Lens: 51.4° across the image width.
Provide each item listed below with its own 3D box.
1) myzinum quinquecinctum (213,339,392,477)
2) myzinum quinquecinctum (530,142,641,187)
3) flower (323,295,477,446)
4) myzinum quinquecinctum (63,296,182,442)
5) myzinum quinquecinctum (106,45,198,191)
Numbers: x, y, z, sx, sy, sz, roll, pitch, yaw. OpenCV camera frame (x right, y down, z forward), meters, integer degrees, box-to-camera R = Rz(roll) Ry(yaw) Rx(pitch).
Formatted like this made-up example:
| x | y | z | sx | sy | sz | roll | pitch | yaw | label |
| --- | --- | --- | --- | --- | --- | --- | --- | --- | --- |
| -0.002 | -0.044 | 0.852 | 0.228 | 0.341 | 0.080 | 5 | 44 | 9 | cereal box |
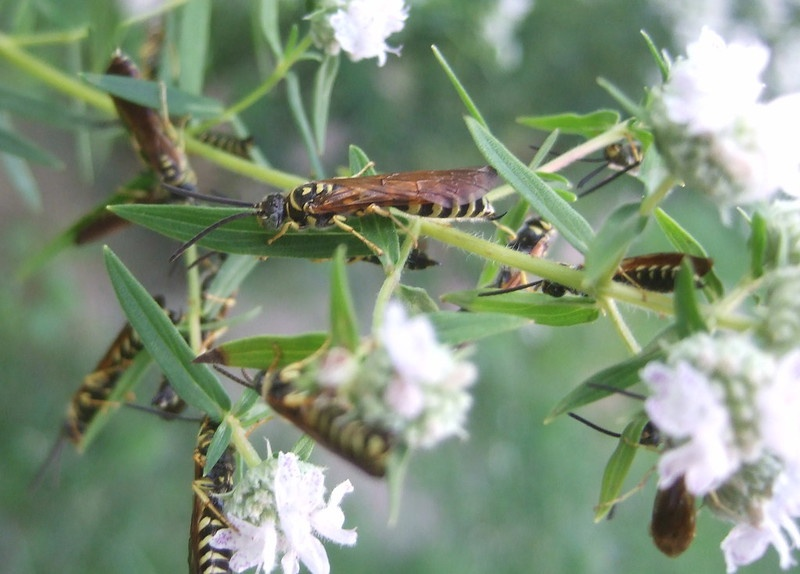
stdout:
| x | y | z | sx | sy | sz | roll | pitch | yaw | label |
| --- | --- | --- | --- | --- | --- | --- | --- | --- | --- |
| -0.207 | 0.316 | 1.894 | 0.314 | 0.095 | 0.240 | 45 | -41 | 20 | myzinum quinquecinctum |
| 0.596 | -0.384 | 2.513 | 0.233 | 0.177 | 0.077 | -1 | -65 | 5 | myzinum quinquecinctum |
| 0.041 | 0.171 | 1.949 | 0.320 | 0.320 | 0.153 | -56 | -25 | 19 | flower |
| -0.892 | 0.289 | 2.489 | 0.092 | 0.306 | 0.311 | 28 | -43 | -33 | myzinum quinquecinctum |
| -0.703 | -0.454 | 2.372 | 0.132 | 0.150 | 0.426 | -31 | -74 | 0 | myzinum quinquecinctum |
